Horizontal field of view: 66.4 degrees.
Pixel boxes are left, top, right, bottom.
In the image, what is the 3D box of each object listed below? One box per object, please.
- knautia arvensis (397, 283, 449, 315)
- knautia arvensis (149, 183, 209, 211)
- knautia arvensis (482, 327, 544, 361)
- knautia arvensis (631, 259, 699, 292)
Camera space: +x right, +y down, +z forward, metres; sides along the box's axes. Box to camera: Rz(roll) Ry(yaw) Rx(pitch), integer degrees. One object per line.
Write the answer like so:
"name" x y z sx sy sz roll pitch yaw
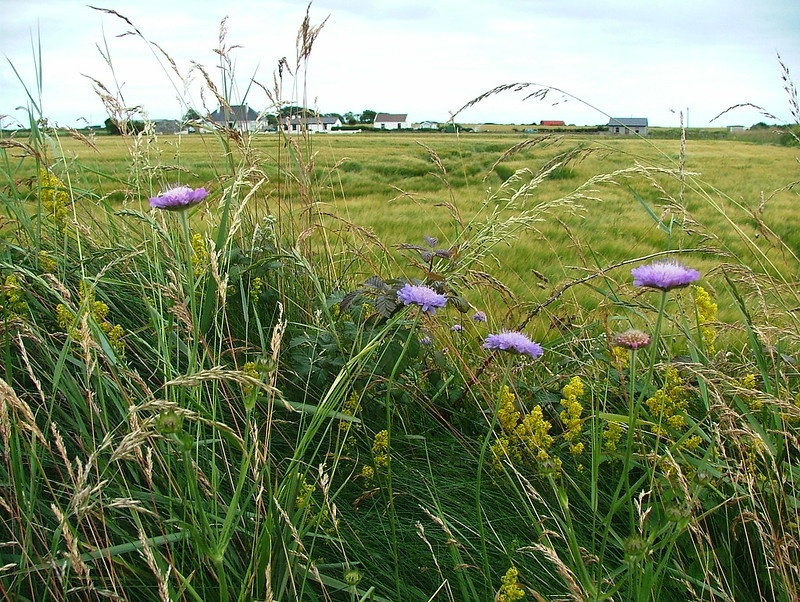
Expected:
"knautia arvensis" 0.078 0.011 1.874 0.102 0.045 0.105 26 10 36
"knautia arvensis" -0.612 -0.291 1.709 0.136 0.062 0.222 -3 17 -11
"knautia arvensis" 0.339 0.119 1.837 0.156 0.096 0.238 2 17 7
"knautia arvensis" 0.701 -0.074 1.621 0.106 0.076 0.112 -11 12 -20
